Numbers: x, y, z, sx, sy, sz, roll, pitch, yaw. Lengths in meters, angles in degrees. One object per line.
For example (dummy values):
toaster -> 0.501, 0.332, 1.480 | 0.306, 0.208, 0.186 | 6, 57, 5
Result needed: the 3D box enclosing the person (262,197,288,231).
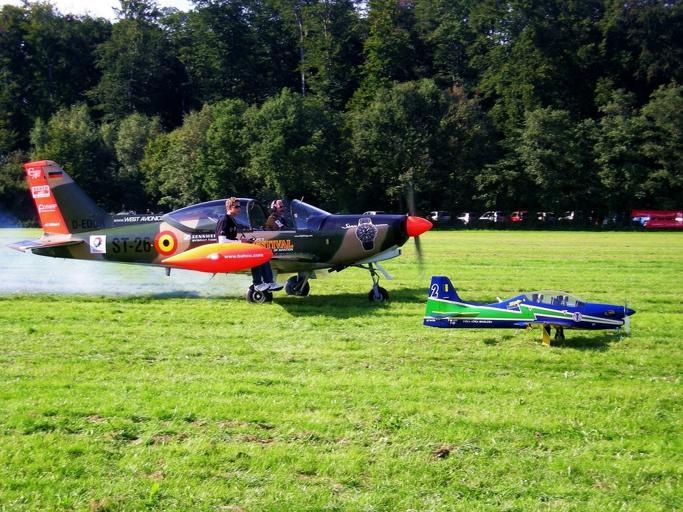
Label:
person -> -2.140, -1.186, 26.459 | 1.036, 0.999, 1.132 | -2, 4, 3
